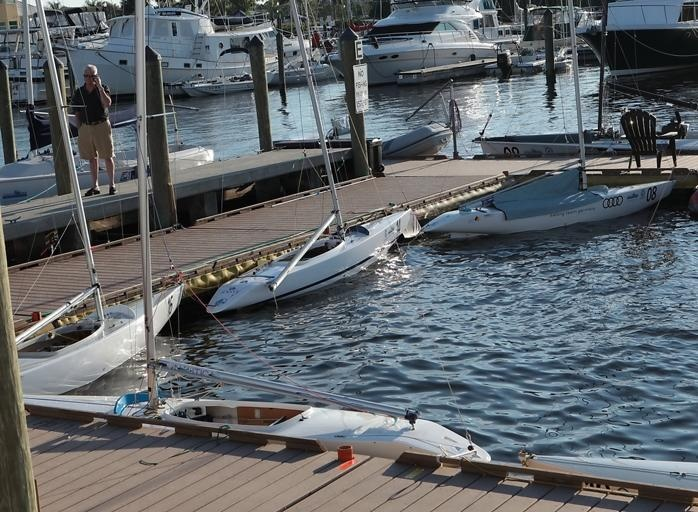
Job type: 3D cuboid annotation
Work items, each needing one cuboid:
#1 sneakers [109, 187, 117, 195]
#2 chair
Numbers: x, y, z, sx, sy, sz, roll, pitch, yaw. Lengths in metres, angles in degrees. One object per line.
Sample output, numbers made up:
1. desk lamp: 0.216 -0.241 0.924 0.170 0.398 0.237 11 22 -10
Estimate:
1. sneakers: -4.519 -1.154 14.962 0.185 0.135 0.415 -4 8 -20
2. chair: 6.619 -2.383 17.362 1.228 0.984 1.343 -1 -1 15
